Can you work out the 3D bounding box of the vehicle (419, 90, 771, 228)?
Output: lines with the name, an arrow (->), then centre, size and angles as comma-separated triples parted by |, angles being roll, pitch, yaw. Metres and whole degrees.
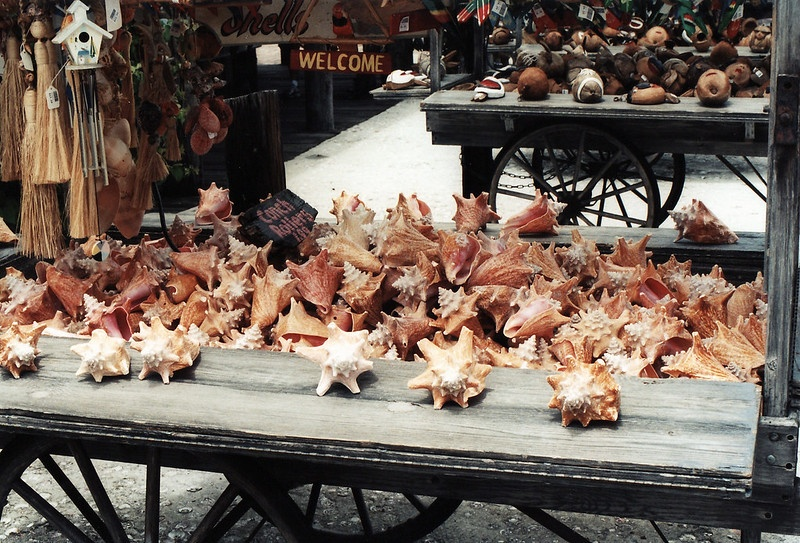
vehicle -> 1.684, -0.690, 5.313 | 2.390, 1.083, 1.276 | 5, 16, 24
